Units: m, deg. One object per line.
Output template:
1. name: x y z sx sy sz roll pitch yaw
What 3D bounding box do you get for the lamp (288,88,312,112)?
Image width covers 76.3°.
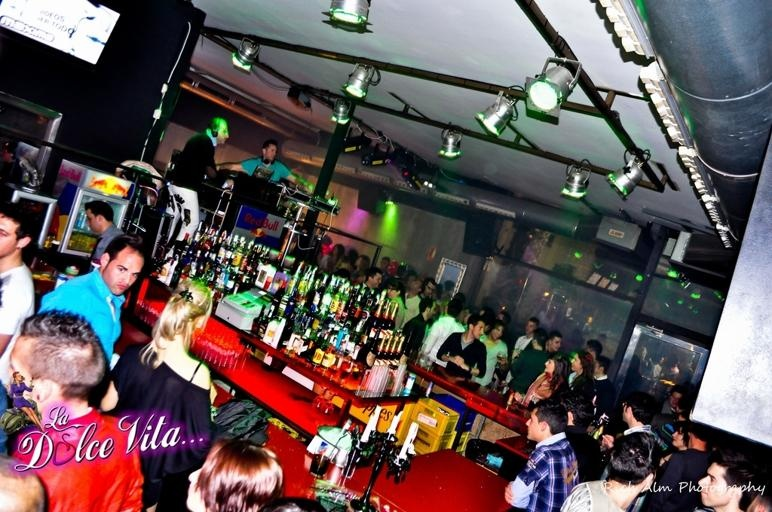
1. lamp: -1.540 -2.831 8.813 0.422 0.399 0.358 18 -5 -21

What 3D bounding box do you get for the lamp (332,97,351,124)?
1. lamp: -0.704 -2.352 8.094 0.324 0.368 0.363 12 -7 0

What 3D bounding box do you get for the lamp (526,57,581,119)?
1. lamp: 1.529 -1.573 4.423 0.417 0.611 0.403 14 -39 30

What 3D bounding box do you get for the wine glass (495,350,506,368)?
1. wine glass: 1.654 1.472 7.139 0.167 0.213 0.370 8 -27 17

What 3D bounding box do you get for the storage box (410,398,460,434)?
1. storage box: 0.599 1.892 5.948 0.496 0.318 0.508 17 0 45

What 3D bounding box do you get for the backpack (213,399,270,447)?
1. backpack: -1.039 1.166 3.528 0.409 0.126 0.333 5 1 42

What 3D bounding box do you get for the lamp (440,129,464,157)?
1. lamp: 0.947 -1.680 7.399 0.384 0.390 0.387 8 5 28

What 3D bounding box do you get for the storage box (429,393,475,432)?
1. storage box: 0.774 1.867 5.947 0.335 0.396 0.578 7 0 -27

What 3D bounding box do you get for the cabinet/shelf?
1. cabinet/shelf: -0.989 0.880 4.331 1.721 0.952 0.515 33 19 15

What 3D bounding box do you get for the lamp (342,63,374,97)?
1. lamp: -0.333 -2.266 6.317 0.356 0.427 0.267 17 -5 -12
